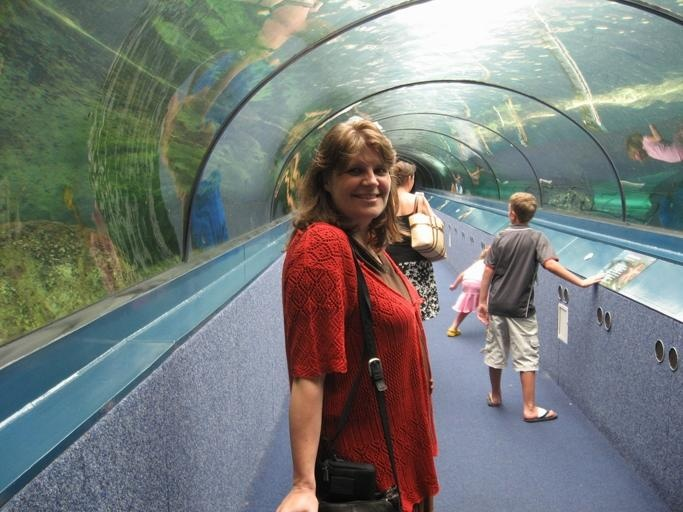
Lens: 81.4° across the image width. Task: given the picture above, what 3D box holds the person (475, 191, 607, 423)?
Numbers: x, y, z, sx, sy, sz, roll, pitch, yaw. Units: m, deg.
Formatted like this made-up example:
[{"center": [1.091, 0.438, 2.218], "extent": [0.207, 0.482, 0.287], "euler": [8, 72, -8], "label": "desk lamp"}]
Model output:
[{"center": [2.213, 0.570, 4.534], "extent": [0.662, 2.522, 1.309], "euler": [-1, 3, -42], "label": "person"}]

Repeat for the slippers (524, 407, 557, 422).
[{"center": [2.315, 1.847, 4.570], "extent": [0.307, 0.117, 0.175], "euler": [-4, 5, 1], "label": "slippers"}]
